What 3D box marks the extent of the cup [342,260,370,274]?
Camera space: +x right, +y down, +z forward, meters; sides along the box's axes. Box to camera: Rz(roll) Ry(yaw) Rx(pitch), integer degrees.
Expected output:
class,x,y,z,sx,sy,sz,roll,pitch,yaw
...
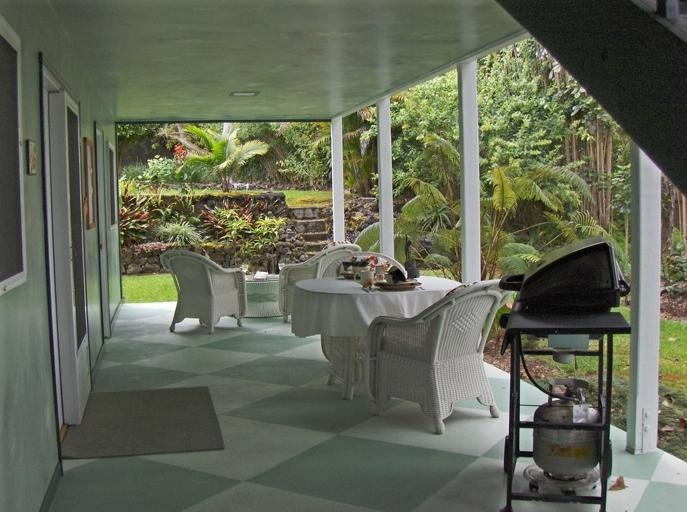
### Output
class,x,y,z,sx,sy,sz,roll,pitch,yaw
cup,0.097,0.104,4.786,0.194,0.075,0.128,-3,0,14

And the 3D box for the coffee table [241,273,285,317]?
class,x,y,z,sx,sy,sz,roll,pitch,yaw
coffee table,-1.162,0.610,7.799,0.613,0.527,0.611,-6,2,23

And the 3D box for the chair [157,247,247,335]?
class,x,y,z,sx,sy,sz,roll,pitch,yaw
chair,-1.778,0.381,6.856,1.198,1.253,1.150,3,8,30

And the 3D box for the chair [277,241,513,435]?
class,x,y,z,sx,sy,sz,roll,pitch,yaw
chair,0.498,0.567,3.861,1.271,0.705,1.489,-5,8,-35

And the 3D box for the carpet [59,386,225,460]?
class,x,y,z,sx,sy,sz,roll,pitch,yaw
carpet,-1.517,1.202,3.905,1.093,0.014,1.163,-1,12,-26
